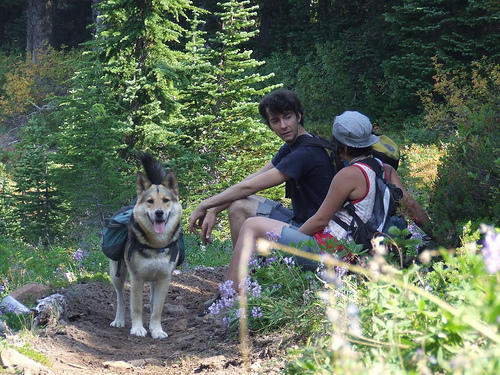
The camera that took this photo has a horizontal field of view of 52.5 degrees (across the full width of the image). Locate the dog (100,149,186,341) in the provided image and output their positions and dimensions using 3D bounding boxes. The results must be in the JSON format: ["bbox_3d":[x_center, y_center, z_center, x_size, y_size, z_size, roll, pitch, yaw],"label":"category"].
[{"bbox_3d":[-1.365,0.733,6.426,1.018,2.282,1.206,2,8,-6],"label":"dog"}]

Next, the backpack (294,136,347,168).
[{"bbox_3d":[0.757,-0.444,5.575,0.390,0.224,0.365,9,6,3],"label":"backpack"}]

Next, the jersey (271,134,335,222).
[{"bbox_3d":[0.566,-0.043,5.722,0.753,0.987,0.646,-1,6,0],"label":"jersey"}]
